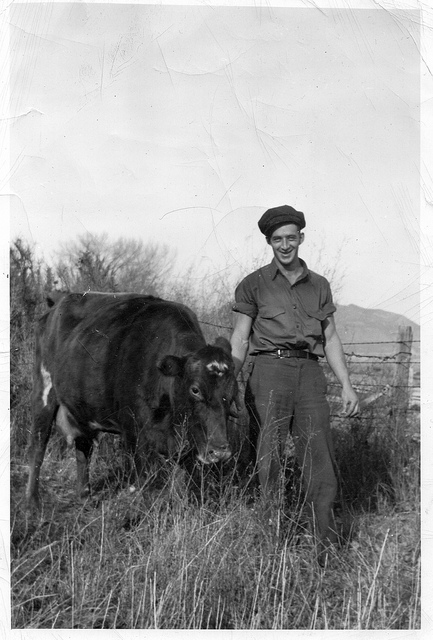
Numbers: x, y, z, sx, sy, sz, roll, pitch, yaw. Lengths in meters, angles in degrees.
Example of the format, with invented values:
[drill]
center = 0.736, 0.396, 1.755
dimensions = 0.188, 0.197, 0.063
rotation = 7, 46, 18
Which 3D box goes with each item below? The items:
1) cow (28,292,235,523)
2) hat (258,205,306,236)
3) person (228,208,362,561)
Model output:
[cow]
center = -0.626, 0.567, 4.147
dimensions = 2.175, 1.383, 0.673
rotation = 7, 8, 40
[hat]
center = 0.360, -0.556, 3.276
dimensions = 0.258, 0.165, 0.148
rotation = 2, 6, 7
[person]
center = 0.436, 0.332, 3.251
dimensions = 0.681, 1.895, 0.574
rotation = 0, 5, -7
